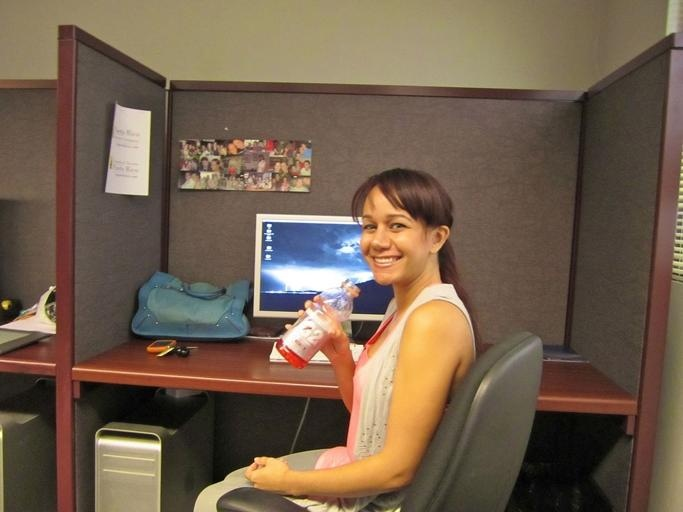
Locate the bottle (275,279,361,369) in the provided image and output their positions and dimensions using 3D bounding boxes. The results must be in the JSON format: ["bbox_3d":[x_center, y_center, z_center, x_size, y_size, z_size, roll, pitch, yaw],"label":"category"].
[{"bbox_3d":[-0.083,0.228,1.940,0.131,0.305,0.129,45,-3,3],"label":"bottle"}]

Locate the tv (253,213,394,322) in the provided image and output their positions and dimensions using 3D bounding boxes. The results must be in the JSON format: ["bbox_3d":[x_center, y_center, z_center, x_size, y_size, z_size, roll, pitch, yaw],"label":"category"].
[{"bbox_3d":[-0.067,0.038,2.121,0.446,0.300,0.062,1,2,2],"label":"tv"}]

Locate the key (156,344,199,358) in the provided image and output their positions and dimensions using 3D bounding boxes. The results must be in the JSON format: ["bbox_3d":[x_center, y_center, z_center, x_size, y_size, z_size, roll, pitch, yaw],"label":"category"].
[{"bbox_3d":[-0.616,0.354,2.090,0.098,0.018,0.050,1,10,16],"label":"key"}]
